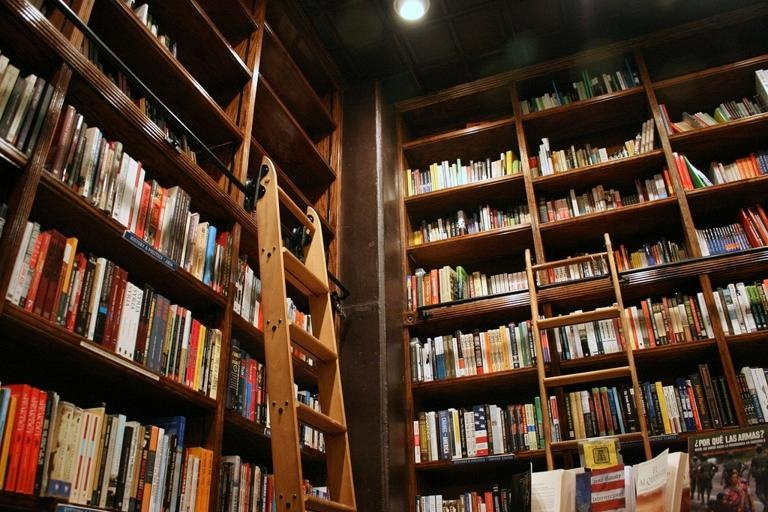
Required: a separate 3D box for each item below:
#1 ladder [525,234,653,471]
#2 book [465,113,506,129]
[{"bbox_3d":[1.262,0.651,3.693,0.551,1.556,0.203,-10,-22,21],"label":"ladder"},{"bbox_3d":[0.825,-1.156,4.879,0.232,0.064,0.222,-13,-6,22],"label":"book"}]
